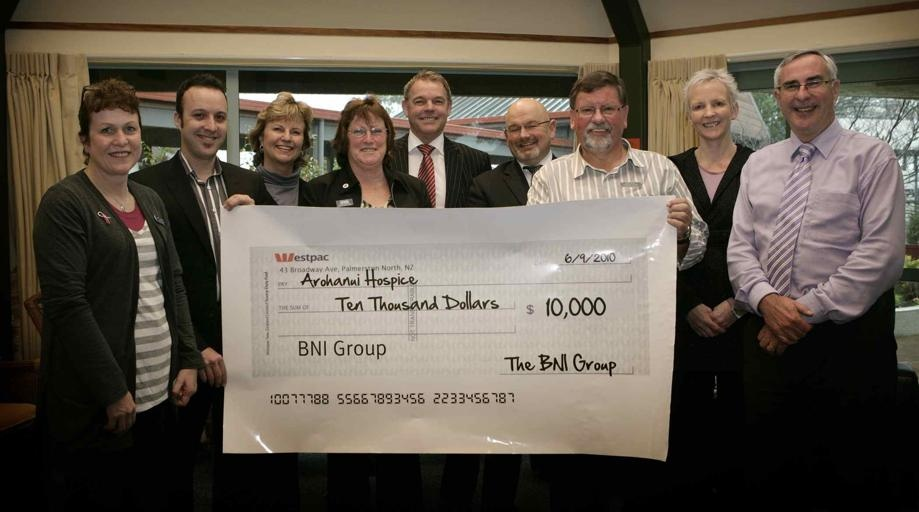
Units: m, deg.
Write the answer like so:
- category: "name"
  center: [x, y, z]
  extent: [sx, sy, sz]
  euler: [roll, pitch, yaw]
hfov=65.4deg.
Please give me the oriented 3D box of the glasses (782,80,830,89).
- category: "glasses"
  center: [2.179, -1.104, 4.556]
  extent: [0.288, 0.080, 0.046]
  euler: [0, 6, 16]

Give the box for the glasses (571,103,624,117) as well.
- category: "glasses"
  center: [0.887, -0.935, 4.597]
  extent: [0.275, 0.066, 0.075]
  euler: [-2, 6, -3]
